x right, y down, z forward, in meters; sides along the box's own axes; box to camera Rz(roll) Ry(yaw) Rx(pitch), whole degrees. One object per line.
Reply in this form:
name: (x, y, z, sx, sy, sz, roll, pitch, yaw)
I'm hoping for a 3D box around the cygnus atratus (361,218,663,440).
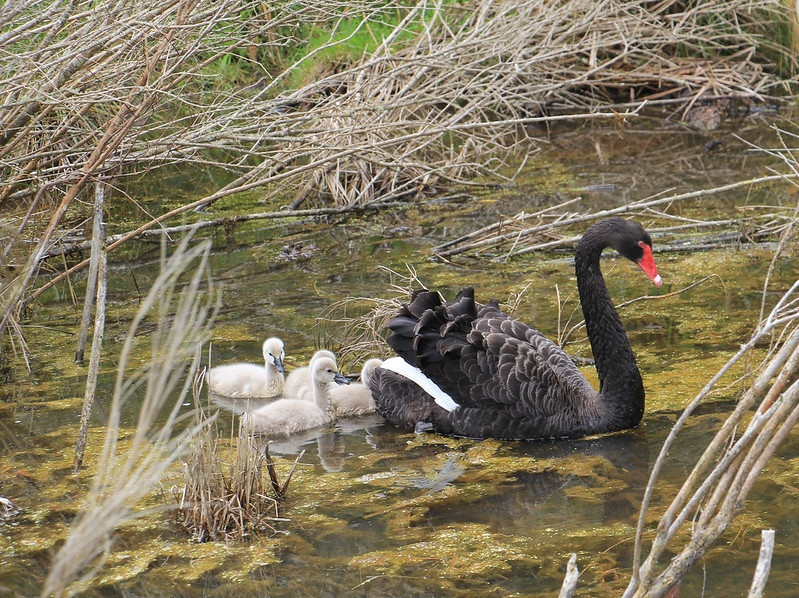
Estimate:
cygnus atratus: (0.922, 0.269, 7.000, 1.152, 1.500, 2.673, -14, 9, -41)
